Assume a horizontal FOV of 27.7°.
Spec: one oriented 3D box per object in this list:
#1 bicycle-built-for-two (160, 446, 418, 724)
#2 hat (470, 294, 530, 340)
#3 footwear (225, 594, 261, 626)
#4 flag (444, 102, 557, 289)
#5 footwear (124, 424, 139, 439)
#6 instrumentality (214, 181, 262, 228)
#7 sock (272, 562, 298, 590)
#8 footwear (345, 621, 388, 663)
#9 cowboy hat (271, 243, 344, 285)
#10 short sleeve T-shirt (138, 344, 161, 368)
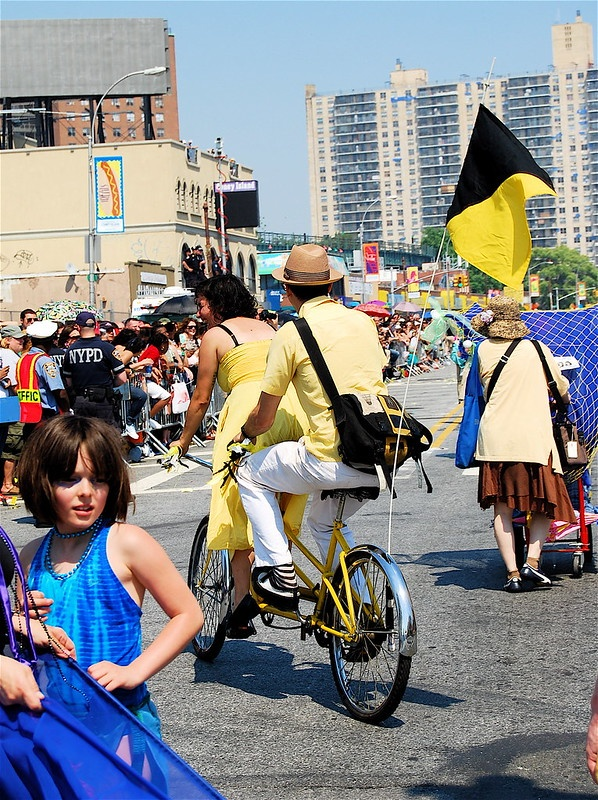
[{"bbox_3d":[-0.051,0.731,5.270,0.882,1.001,1.767,0,2,-34],"label":"bicycle-built-for-two"},{"bbox_3d":[1.174,-0.504,7.232,0.346,0.263,0.271,0,8,14],"label":"hat"},{"bbox_3d":[-0.246,0.915,5.301,0.081,0.082,0.210,26,-23,-3],"label":"footwear"},{"bbox_3d":[1.128,-1.132,7.018,0.735,1.149,0.552,2,10,19],"label":"flag"},{"bbox_3d":[-2.149,0.419,15.635,0.112,0.122,0.321,-3,8,-26],"label":"footwear"},{"bbox_3d":[-2.997,-9.694,59.292,1.723,2.376,4.267,-3,2,2],"label":"instrumentality"},{"bbox_3d":[-0.060,0.729,4.960,0.072,0.115,0.119,-4,-3,-28],"label":"sock"},{"bbox_3d":[0.257,0.960,4.736,0.039,0.172,0.176,8,-33,-43],"label":"footwear"},{"bbox_3d":[0.033,-0.581,5.073,0.245,0.189,0.245,1,9,10],"label":"cowboy hat"},{"bbox_3d":[-2.123,-0.640,17.018,0.154,0.251,0.272,18,16,-34],"label":"short sleeve T-shirt"}]
